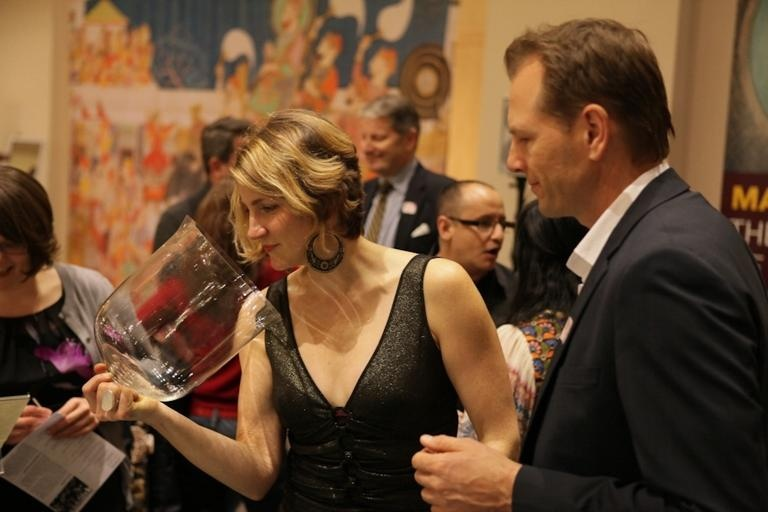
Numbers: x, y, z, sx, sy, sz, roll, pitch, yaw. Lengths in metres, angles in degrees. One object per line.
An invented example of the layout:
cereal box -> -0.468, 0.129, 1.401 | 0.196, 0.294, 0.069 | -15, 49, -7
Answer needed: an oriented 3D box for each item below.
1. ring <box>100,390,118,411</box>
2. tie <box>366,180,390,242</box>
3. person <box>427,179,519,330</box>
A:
ring -> -0.834, 0.437, 2.190 | 0.042, 0.068, 0.014 | 1, 9, -11
tie -> -0.031, -0.285, 4.742 | 0.089, 0.537, 0.073 | 8, 1, 27
person -> 0.462, -0.044, 3.899 | 0.714, 0.805, 0.469 | -11, 16, -41
